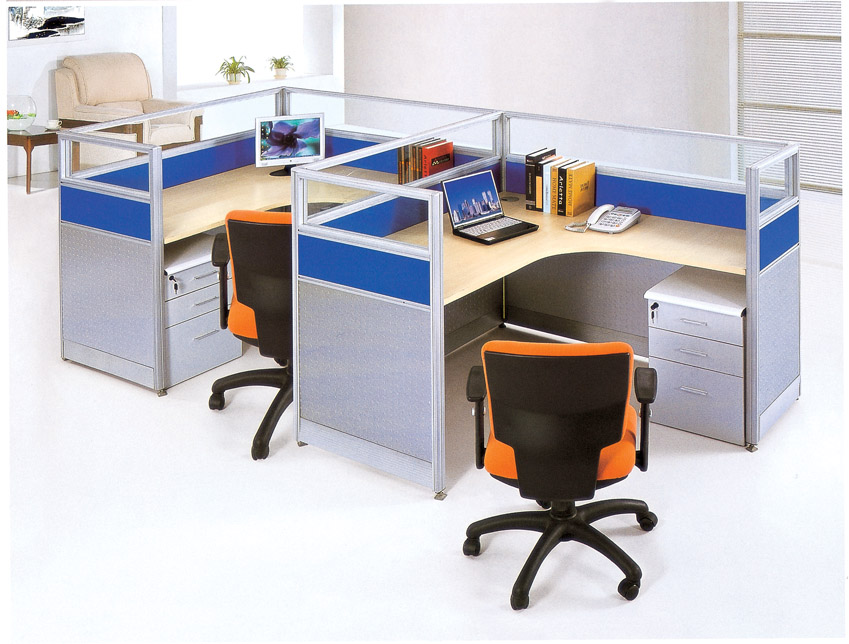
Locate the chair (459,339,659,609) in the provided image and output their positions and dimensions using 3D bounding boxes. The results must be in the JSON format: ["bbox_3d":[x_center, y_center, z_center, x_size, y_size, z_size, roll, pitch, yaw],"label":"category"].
[{"bbox_3d":[0.505,0.615,2.773,0.662,0.846,0.706,-2,39,5],"label":"chair"}]

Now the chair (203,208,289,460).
[{"bbox_3d":[-0.897,0.016,3.740,0.420,1.186,0.643,-10,21,-26],"label":"chair"}]

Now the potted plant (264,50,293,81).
[{"bbox_3d":[-2.157,-3.727,10.778,0.441,0.405,0.449,7,15,32],"label":"potted plant"}]

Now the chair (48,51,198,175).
[{"bbox_3d":[-3.298,-2.326,8.003,1.383,1.209,1.040,2,19,8],"label":"chair"}]

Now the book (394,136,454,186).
[{"bbox_3d":[0.002,-1.051,4.639,0.274,0.345,0.360,18,27,40],"label":"book"}]

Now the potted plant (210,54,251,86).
[{"bbox_3d":[-2.735,-3.542,10.288,0.562,0.396,0.574,17,27,35],"label":"potted plant"}]

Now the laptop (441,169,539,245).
[{"bbox_3d":[0.329,-0.620,4.059,0.444,0.353,0.521,17,28,36],"label":"laptop"}]
